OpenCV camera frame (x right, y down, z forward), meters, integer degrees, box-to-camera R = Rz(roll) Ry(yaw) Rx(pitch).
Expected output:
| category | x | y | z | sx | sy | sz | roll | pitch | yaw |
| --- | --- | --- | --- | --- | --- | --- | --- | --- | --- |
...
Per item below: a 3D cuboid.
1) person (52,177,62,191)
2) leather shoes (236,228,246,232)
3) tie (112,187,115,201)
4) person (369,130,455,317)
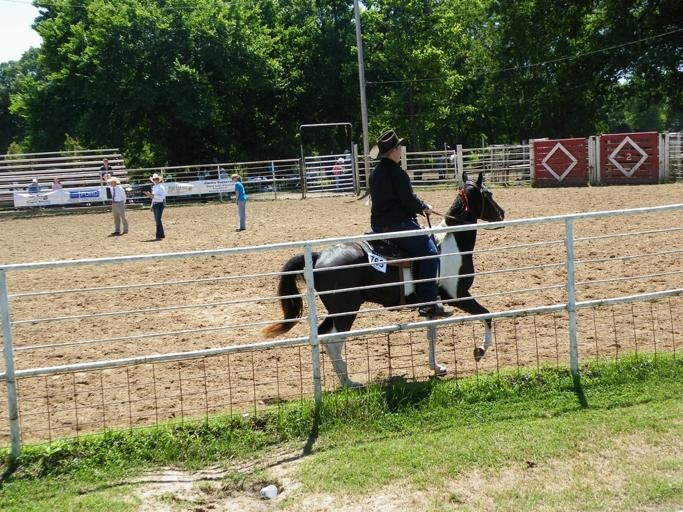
| category | x | y | z | sx | sy | sz | roll | pitch | yaw |
| --- | --- | --- | --- | --- | --- | --- | --- | --- | --- |
| person | -11.803 | -2.957 | 38.470 | 0.387 | 0.509 | 1.289 | -6 | 7 | -17 |
| leather shoes | -3.012 | -0.769 | 27.589 | 0.290 | 0.117 | 0.105 | 5 | 4 | 10 |
| tie | -6.992 | -1.882 | 28.563 | 0.088 | 0.383 | 0.273 | -5 | 6 | -12 |
| person | 1.100 | -0.508 | 16.080 | 1.214 | 3.300 | 0.774 | -3 | 6 | 9 |
